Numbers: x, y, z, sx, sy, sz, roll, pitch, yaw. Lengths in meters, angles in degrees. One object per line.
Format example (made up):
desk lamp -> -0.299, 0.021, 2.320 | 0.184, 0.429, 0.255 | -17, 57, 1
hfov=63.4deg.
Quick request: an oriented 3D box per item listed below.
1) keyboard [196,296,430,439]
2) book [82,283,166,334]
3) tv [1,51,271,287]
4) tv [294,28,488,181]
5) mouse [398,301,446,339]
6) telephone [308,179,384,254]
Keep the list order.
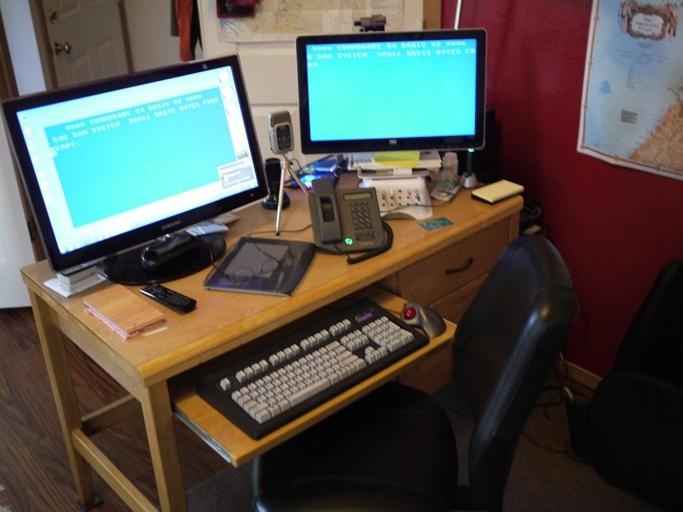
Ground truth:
keyboard -> -0.068, 0.321, 1.612 | 0.639, 0.119, 0.299 | -20, 24, -38
book -> -0.632, 0.150, 1.588 | 0.228, 0.025, 0.142 | 23, 30, 24
tv -> -0.587, -0.312, 1.708 | 0.725, 0.474, 0.138 | -24, 35, -30
tv -> 0.182, -0.595, 2.025 | 0.606, 0.472, 0.320 | -1, 27, -4
mouse -> 0.252, 0.190, 1.713 | 0.149, 0.060, 0.106 | 19, 31, 39
telephone -> 0.013, -0.137, 1.870 | 0.217, 0.251, 0.240 | -11, 28, -23
